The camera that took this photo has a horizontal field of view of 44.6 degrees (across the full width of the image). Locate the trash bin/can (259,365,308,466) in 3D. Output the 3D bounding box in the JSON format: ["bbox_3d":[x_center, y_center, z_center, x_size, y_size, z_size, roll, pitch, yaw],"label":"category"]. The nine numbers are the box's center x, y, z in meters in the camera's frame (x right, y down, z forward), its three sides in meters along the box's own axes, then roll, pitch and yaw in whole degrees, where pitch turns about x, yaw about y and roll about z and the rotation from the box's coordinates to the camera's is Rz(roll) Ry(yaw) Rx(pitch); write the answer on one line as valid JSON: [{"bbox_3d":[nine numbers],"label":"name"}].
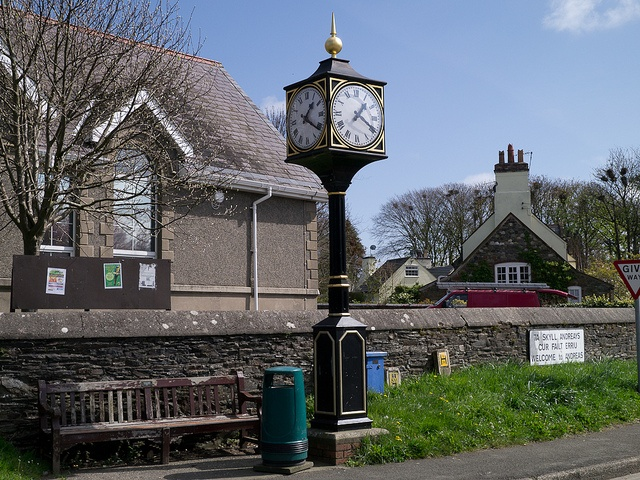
[{"bbox_3d":[-0.536,2.732,11.989,0.705,1.462,0.491,1,5,-2],"label":"trash bin/can"}]

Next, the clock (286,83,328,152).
[{"bbox_3d":[-0.210,-2.015,12.812,0.060,1.077,0.989,19,33,39],"label":"clock"}]

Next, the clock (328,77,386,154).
[{"bbox_3d":[0.626,-2.039,12.713,0.972,1.066,0.232,-2,6,-31],"label":"clock"}]
